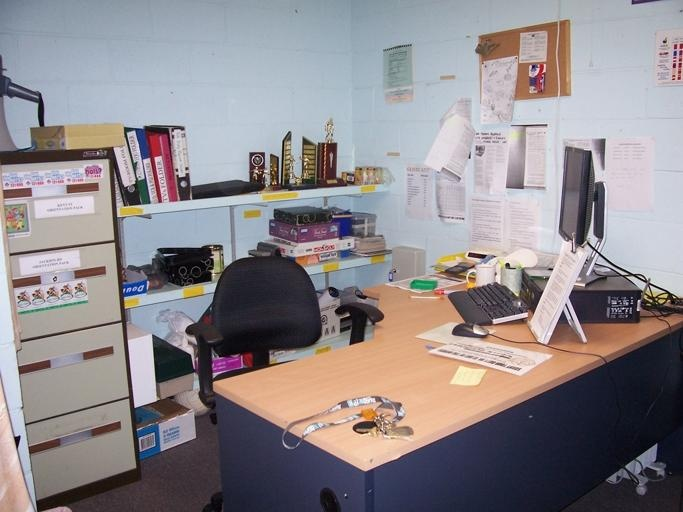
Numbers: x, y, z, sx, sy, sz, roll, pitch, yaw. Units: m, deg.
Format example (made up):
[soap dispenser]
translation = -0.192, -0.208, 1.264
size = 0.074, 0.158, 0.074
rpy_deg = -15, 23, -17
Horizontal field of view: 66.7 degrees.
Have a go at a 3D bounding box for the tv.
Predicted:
[tv]
translation = 1.095, -0.173, 2.345
size = 0.105, 0.688, 0.903
rpy_deg = 2, 9, 20

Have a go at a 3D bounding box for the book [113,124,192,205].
[book]
translation = -1.148, -0.533, 3.190
size = 0.411, 0.531, 0.552
rpy_deg = -8, 12, -21

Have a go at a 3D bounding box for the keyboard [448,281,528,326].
[keyboard]
translation = 0.710, 0.206, 2.478
size = 0.305, 0.059, 0.438
rpy_deg = -14, -33, 31

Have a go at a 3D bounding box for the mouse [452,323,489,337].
[mouse]
translation = 0.544, 0.319, 2.208
size = 0.114, 0.040, 0.067
rpy_deg = -1, 6, 17
